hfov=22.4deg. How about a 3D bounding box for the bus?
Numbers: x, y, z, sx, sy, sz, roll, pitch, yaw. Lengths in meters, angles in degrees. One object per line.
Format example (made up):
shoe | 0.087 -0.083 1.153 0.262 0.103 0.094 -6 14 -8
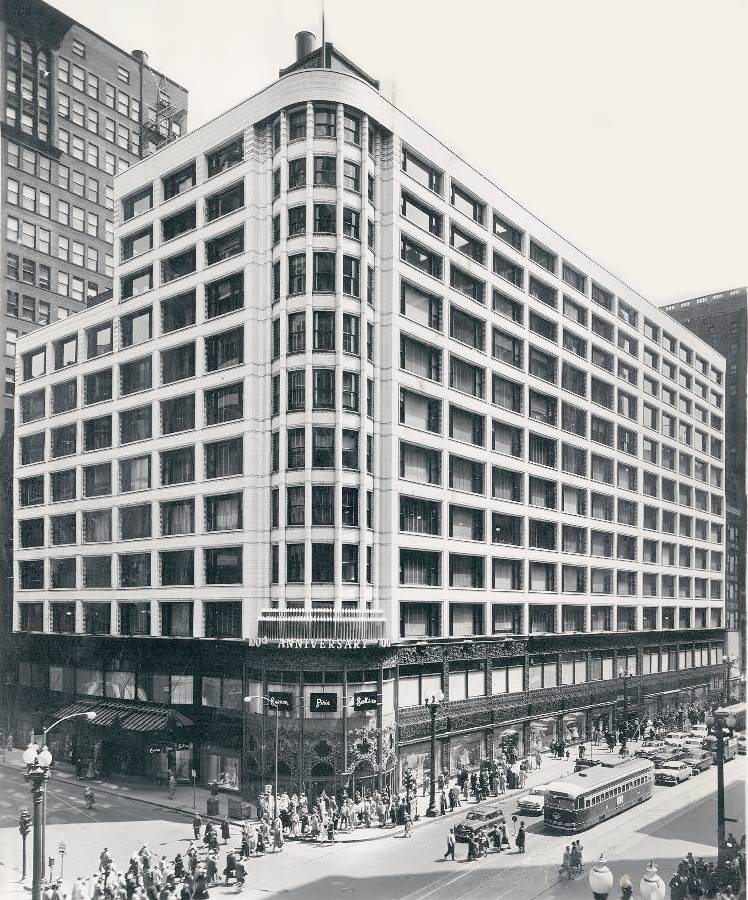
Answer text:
bus | 12.480 19.124 103.253 2.244 3.072 9.904 -8 -11 30
